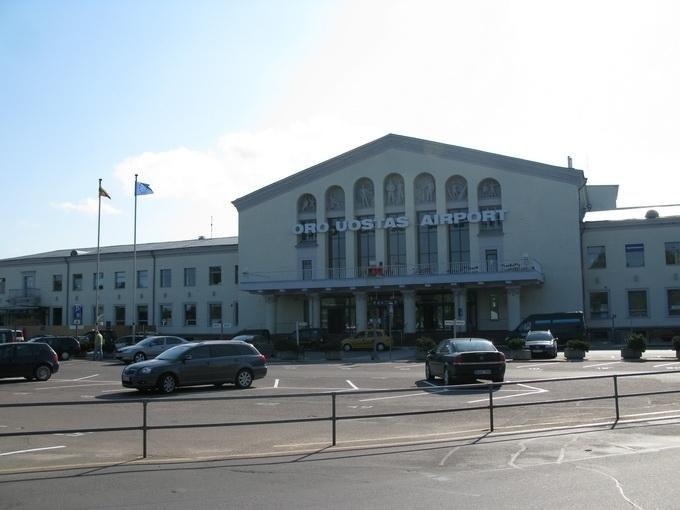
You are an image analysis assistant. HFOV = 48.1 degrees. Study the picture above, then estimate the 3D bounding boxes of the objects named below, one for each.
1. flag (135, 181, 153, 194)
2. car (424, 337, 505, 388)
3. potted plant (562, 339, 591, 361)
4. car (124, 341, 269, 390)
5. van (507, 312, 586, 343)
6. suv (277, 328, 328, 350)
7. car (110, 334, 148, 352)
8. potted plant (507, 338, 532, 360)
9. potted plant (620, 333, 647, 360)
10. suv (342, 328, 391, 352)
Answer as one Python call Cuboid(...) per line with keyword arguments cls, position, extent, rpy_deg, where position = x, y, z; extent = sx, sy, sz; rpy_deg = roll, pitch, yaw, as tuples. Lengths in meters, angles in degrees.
Cuboid(cls="flag", position=(-14.604, -4.893, 56.266), extent=(1.060, 0.878, 0.275), rpy_deg=(1, -1, -12))
Cuboid(cls="car", position=(4.482, 3.888, 27.485), extent=(1.881, 1.646, 2.647), rpy_deg=(1, -2, -17))
Cuboid(cls="potted plant", position=(12.325, 4.990, 39.726), extent=(1.107, 0.986, 0.997), rpy_deg=(1, -11, 2))
Cuboid(cls="car", position=(-5.108, 4.029, 27.297), extent=(4.610, 1.518, 1.938), rpy_deg=(5, -10, -32))
Cuboid(cls="van", position=(13.199, 4.814, 48.332), extent=(4.961, 2.543, 1.629), rpy_deg=(-3, -1, 28))
Cuboid(cls="suv", position=(-2.373, 5.737, 52.739), extent=(3.129, 1.654, 1.844), rpy_deg=(3, -6, -6))
Cuboid(cls="car", position=(-13.620, 6.003, 49.632), extent=(2.436, 1.208, 1.438), rpy_deg=(2, -2, 5))
Cuboid(cls="potted plant", position=(9.460, 5.009, 40.485), extent=(0.967, 1.200, 1.189), rpy_deg=(-1, -3, 4))
Cuboid(cls="potted plant", position=(14.795, 4.671, 38.616), extent=(1.166, 1.529, 1.351), rpy_deg=(0, -3, 13))
Cuboid(cls="suv", position=(1.637, 5.922, 52.260), extent=(2.676, 1.177, 1.553), rpy_deg=(2, -3, 7))
